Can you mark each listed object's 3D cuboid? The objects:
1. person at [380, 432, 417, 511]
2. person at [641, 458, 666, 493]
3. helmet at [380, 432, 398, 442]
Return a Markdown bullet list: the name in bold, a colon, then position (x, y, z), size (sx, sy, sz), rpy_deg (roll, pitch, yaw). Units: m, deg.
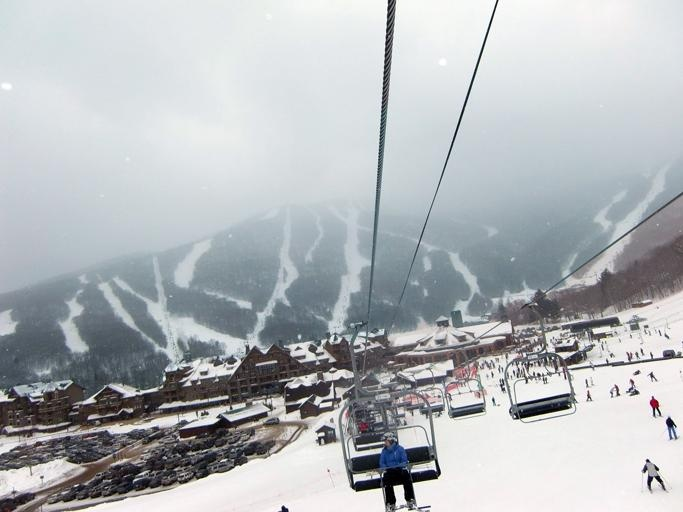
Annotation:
- **person**: position (1.762, 6.945, 14.578), size (0.977, 2.514, 0.867), rpy_deg (-9, -1, 4)
- **person**: position (12.731, 8.792, 18.118), size (0.549, 1.158, 0.501), rpy_deg (-15, -3, 22)
- **helmet**: position (1.594, 5.985, 14.832), size (0.407, 0.403, 0.348), rpy_deg (-9, -10, -12)
